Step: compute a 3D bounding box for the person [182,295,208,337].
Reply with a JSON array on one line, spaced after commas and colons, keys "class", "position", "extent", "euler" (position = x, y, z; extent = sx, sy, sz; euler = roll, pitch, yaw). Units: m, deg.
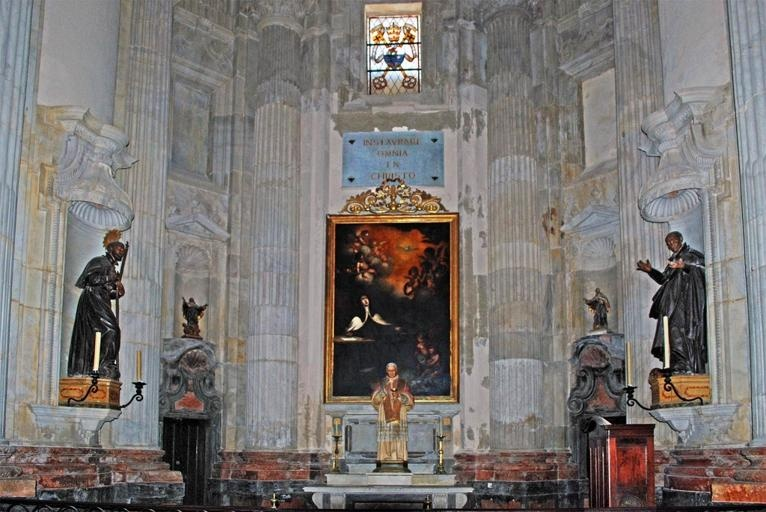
[{"class": "person", "position": [-3.685, 1.207, 30.490], "extent": [0.420, 0.810, 0.306], "euler": [1, -12, -8]}]

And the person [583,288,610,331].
[{"class": "person", "position": [4.134, 1.062, 30.284], "extent": [0.582, 0.992, 0.334], "euler": [-16, -29, 42]}]

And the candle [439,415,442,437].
[{"class": "candle", "position": [1.134, 3.296, 30.939], "extent": [0.098, 0.336, 0.143], "euler": [0, -12, -2]}]

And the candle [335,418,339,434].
[{"class": "candle", "position": [-0.902, 3.324, 30.987], "extent": [0.119, 0.284, 0.074], "euler": [0, -12, -2]}]

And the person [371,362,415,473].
[{"class": "person", "position": [0.171, 2.875, 28.080], "extent": [0.711, 1.947, 0.358], "euler": [-1, -12, 0]}]

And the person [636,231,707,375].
[{"class": "person", "position": [4.923, 0.796, 26.097], "extent": [1.053, 2.359, 0.556], "euler": [-6, -13, 22]}]
